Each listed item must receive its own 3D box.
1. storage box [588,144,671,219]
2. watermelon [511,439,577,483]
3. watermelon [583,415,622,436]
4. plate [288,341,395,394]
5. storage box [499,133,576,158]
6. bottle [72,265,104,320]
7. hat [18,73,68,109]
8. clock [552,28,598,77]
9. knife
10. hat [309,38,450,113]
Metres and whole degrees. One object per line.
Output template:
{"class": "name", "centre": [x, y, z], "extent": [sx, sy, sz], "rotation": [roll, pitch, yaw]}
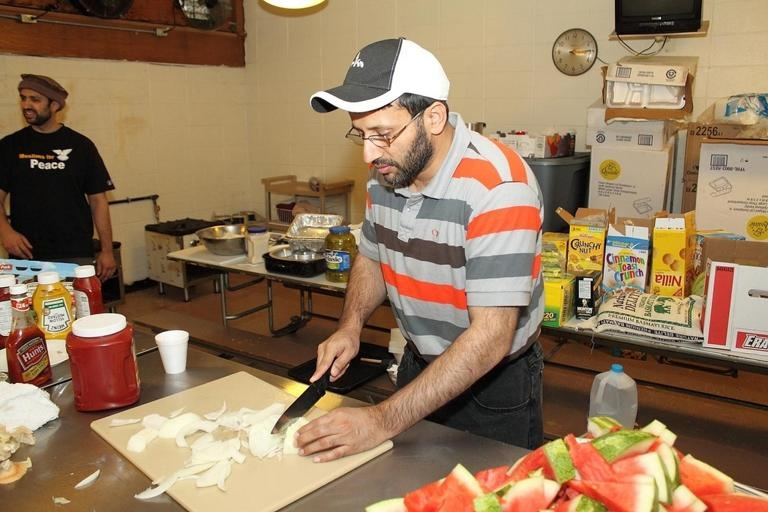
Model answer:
{"class": "storage box", "centre": [1.810, -0.538, 4.310], "extent": [0.651, 0.666, 0.664], "rotation": [7, 12, 21]}
{"class": "watermelon", "centre": [0.367, 0.471, 1.258], "extent": [0.143, 0.088, 0.091], "rotation": [3, 15, 18]}
{"class": "watermelon", "centre": [0.560, 0.432, 1.388], "extent": [0.073, 0.030, 0.061], "rotation": [8, -7, -20]}
{"class": "plate", "centre": [-0.123, 0.662, 3.181], "extent": [0.320, 0.057, 0.508], "rotation": [8, 12, 31]}
{"class": "storage box", "centre": [1.278, -0.897, 4.366], "extent": [0.344, 0.123, 0.341], "rotation": [12, 18, 41]}
{"class": "bottle", "centre": [-1.179, 0.149, 2.165], "extent": [0.108, 0.202, 0.305], "rotation": [-9, 16, -28]}
{"class": "hat", "centre": [-2.433, -1.206, 3.968], "extent": [0.281, 0.158, 0.298], "rotation": [20, 7, 22]}
{"class": "clock", "centre": [1.654, -1.763, 4.677], "extent": [0.425, 0.417, 0.057], "rotation": [8, 9, 39]}
{"class": "knife", "centre": [-0.248, 0.468, 1.897], "extent": [0.060, 0.035, 0.429], "rotation": [21, 26, 17]}
{"class": "hat", "centre": [-0.007, -0.624, 1.886], "extent": [0.487, 0.247, 0.298], "rotation": [-10, 21, -29]}
